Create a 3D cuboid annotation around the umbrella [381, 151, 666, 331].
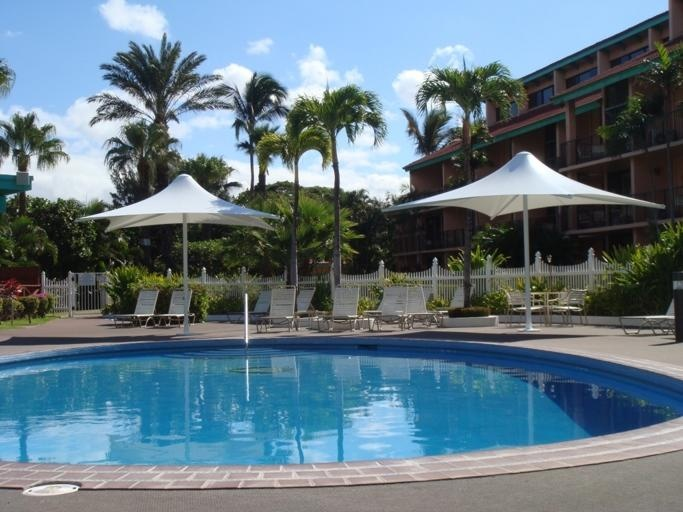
[{"bbox_3d":[4.645,-0.464,17.619,4.328,4.712,4.075,-1,-6,23],"label":"umbrella"}]
